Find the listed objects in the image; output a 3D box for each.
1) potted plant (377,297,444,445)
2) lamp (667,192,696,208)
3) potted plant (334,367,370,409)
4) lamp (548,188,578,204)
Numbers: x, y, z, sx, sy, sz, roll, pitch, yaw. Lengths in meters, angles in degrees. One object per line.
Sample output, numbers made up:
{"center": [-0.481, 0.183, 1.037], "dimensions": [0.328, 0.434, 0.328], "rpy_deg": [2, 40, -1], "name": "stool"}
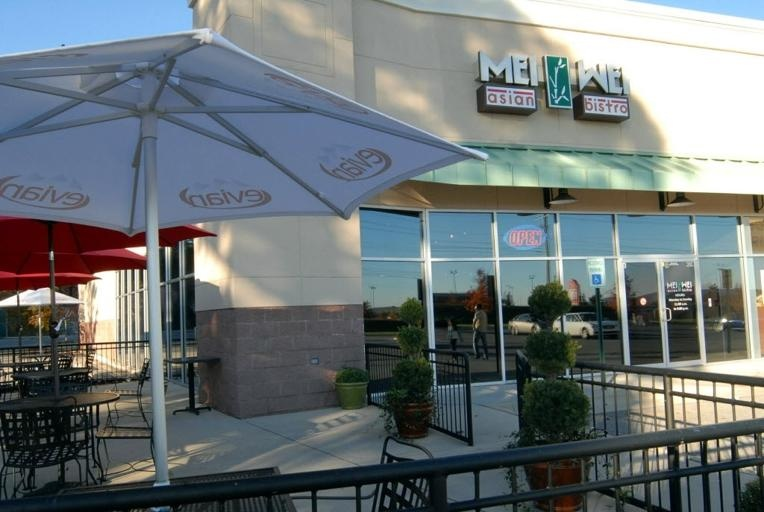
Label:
{"center": [0.426, 1.748, 11.674], "dimensions": [1.003, 2.195, 0.849], "rpy_deg": [13, -17, -19], "name": "potted plant"}
{"center": [7.086, -1.360, 16.716], "dimensions": [0.572, 0.372, 1.041], "rpy_deg": [-6, -6, 22], "name": "lamp"}
{"center": [-0.545, 2.554, 13.490], "dimensions": [1.033, 0.710, 0.988], "rpy_deg": [3, -13, -18], "name": "potted plant"}
{"center": [3.984, -1.304, 15.492], "dimensions": [0.442, 0.433, 0.448], "rpy_deg": [-5, -21, 6], "name": "lamp"}
